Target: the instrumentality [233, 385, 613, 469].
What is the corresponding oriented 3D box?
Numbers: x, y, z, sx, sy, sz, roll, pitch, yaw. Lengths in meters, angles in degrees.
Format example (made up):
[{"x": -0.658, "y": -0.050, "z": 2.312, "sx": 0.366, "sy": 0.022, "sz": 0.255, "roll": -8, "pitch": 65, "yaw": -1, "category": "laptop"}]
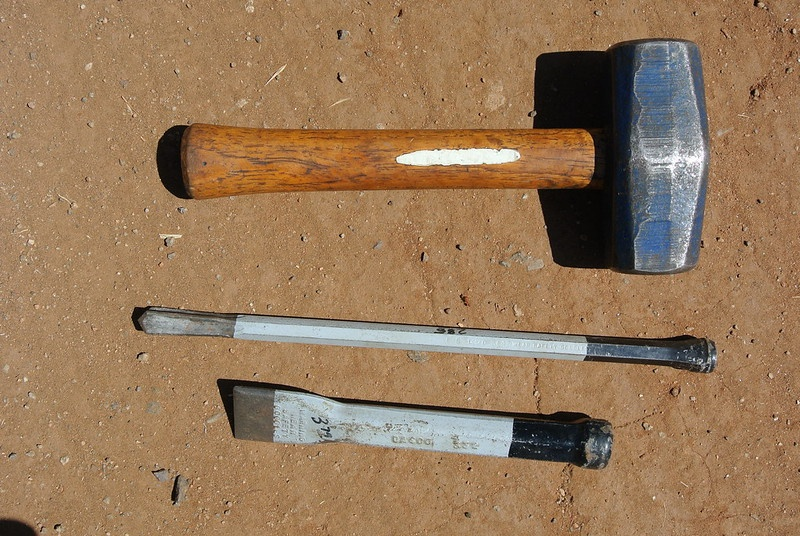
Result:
[{"x": 0.140, "y": 0.897, "z": 6.162, "sx": 1.476, "sy": 0.262, "sz": 0.277, "roll": 4, "pitch": -53, "yaw": 3, "category": "instrumentality"}]
